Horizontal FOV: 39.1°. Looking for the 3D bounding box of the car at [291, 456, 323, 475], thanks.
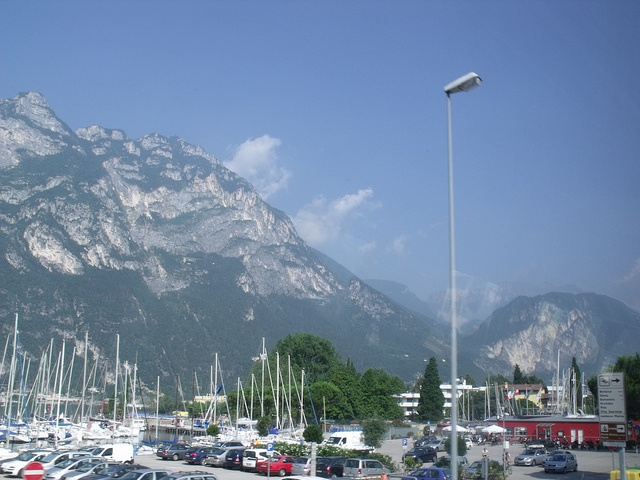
[{"bbox_3d":[-4.592,56.900,224.908,3.633,3.479,6.592,-2,-5,32],"label":"car"}]
